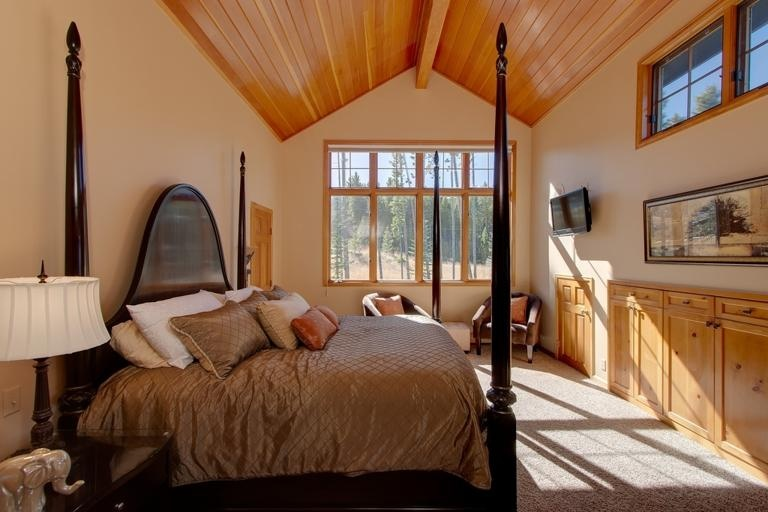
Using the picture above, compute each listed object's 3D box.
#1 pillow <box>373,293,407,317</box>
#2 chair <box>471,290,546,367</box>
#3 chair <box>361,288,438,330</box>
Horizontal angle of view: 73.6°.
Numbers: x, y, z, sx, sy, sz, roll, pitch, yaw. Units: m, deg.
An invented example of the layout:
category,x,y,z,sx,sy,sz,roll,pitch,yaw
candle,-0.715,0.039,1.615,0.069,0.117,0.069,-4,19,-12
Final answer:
category,x,y,z,sx,sy,sz,roll,pitch,yaw
pillow,0.075,0.685,7.274,0.277,0.301,0.117,1,-34,-8
chair,1.707,0.993,7.119,0.860,0.938,0.846,-3,-11,32
chair,0.145,0.683,7.239,0.474,0.572,0.632,-2,-21,-25
